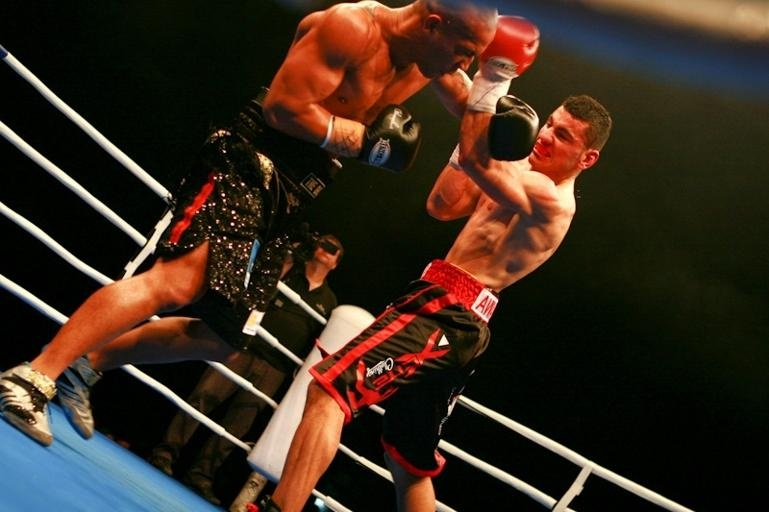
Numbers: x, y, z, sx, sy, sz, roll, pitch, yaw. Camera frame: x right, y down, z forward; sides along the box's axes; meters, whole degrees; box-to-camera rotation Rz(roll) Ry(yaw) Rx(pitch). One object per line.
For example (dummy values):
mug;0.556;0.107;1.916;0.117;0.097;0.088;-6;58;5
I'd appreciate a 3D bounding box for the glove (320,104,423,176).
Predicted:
glove;-0.029;-0.583;3.395;0.386;0.298;0.149;18;-1;-1
